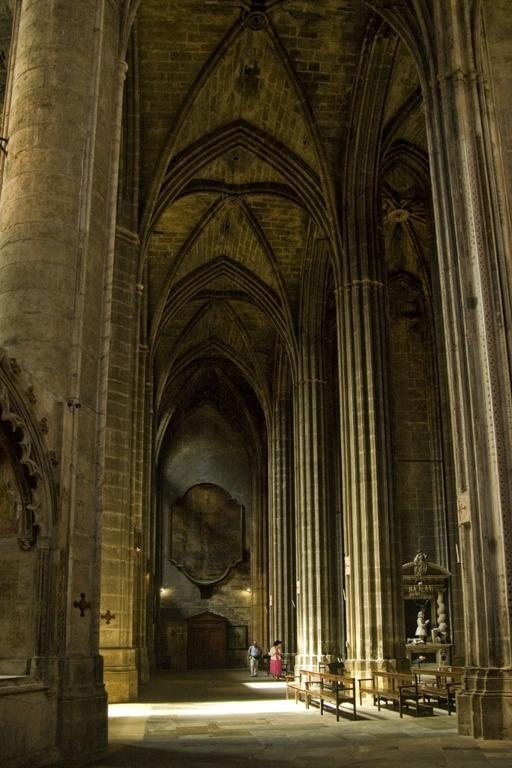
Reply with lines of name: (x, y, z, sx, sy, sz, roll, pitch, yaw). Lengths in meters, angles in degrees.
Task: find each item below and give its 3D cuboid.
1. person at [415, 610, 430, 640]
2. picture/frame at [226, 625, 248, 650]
person: (4.054, 5.942, 18.394, 0.375, 0.759, 0.864, -6, -20, 10)
picture/frame: (-0.857, 11.573, 33.987, 1.094, 1.317, 0.130, 1, -19, 1)
